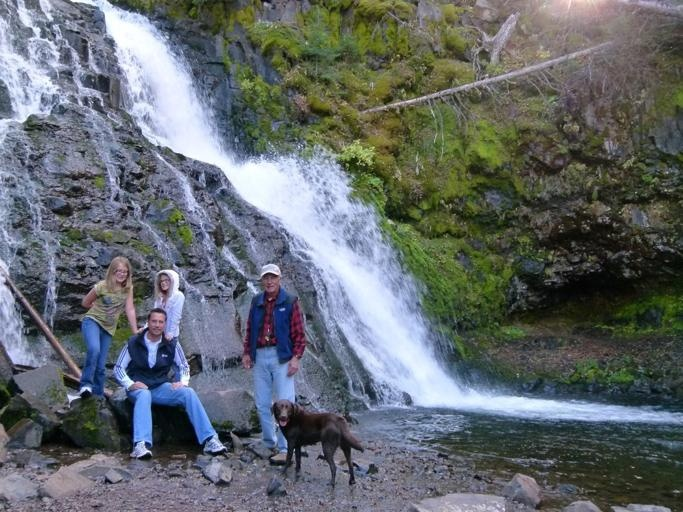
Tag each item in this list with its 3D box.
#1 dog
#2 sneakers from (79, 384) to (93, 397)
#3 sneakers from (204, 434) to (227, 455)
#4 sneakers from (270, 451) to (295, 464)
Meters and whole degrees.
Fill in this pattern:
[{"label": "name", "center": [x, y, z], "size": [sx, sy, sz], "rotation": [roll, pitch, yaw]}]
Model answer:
[{"label": "dog", "center": [-0.450, 3.178, 11.141], "size": [1.889, 1.249, 0.583], "rotation": [2, -2, 28]}, {"label": "sneakers", "center": [-4.684, 2.490, 12.062], "size": [0.209, 0.193, 0.227], "rotation": [3, 4, -13]}, {"label": "sneakers", "center": [-2.246, 3.389, 11.732], "size": [0.442, 0.250, 0.219], "rotation": [-5, -9, 35]}, {"label": "sneakers", "center": [-1.030, 3.540, 11.506], "size": [0.427, 0.200, 0.208], "rotation": [5, -12, -4]}]
